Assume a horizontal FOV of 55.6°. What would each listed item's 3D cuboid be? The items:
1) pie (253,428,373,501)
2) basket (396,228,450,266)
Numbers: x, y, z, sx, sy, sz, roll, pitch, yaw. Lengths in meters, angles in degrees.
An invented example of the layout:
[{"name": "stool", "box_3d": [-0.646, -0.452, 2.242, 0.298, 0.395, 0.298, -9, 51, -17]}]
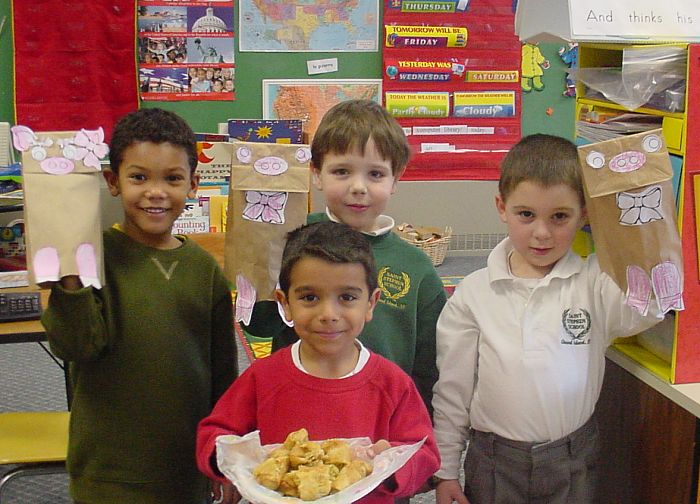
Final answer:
[{"name": "pie", "box_3d": [-0.076, 0.382, 1.286, 0.158, 0.058, 0.122, -9, 13, -44]}, {"name": "basket", "box_3d": [0.479, -0.076, 4.281, 0.269, 0.168, 0.286, -1, 7, -9]}]
